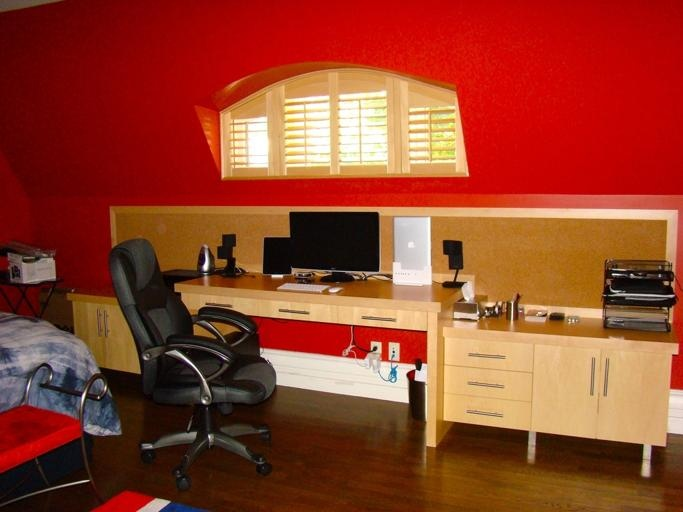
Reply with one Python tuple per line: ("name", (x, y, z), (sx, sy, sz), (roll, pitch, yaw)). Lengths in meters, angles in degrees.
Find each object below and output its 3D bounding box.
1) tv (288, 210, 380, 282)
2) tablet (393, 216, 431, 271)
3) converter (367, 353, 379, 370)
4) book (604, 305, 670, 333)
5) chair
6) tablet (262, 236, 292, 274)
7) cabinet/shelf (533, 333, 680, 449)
("tv", (-0.031, -0.078, 4.301), (0.569, 0.385, 0.150), (2, 5, 16))
("tablet", (0.541, -0.091, 4.091), (0.404, 0.540, 0.057), (2, 7, 20))
("converter", (0.269, 0.869, 4.490), (0.121, 0.142, 0.079), (3, 10, 15))
("book", (1.973, 0.424, 3.673), (0.245, 0.086, 0.243), (3, 2, 18))
("chair", (-0.846, 0.585, 4.237), (1.439, 2.045, 1.447), (1, 5, 6))
("tablet", (-0.510, 0.006, 4.472), (0.320, 0.375, 0.041), (0, -2, -2))
("cabinet/shelf", (1.703, 0.856, 3.551), (0.820, 0.582, 0.284), (1, 1, 18))
